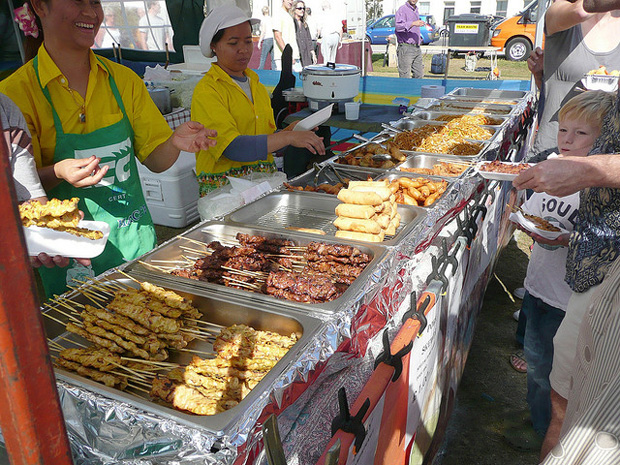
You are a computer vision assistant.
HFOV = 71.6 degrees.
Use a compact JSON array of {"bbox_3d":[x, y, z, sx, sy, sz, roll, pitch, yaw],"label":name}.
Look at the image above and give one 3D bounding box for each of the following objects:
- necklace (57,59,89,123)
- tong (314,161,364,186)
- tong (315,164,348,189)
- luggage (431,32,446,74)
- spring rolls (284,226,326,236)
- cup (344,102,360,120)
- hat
[{"bbox_3d":[-1.359,-0.841,2.550,0.180,0.340,0.140,-8,22,-18],"label":"necklace"},{"bbox_3d":[0.236,-0.465,3.521,0.365,0.104,0.225,12,30,16],"label":"tong"},{"bbox_3d":[0.181,-0.497,3.491,0.284,0.048,0.196,42,66,16],"label":"tong"},{"bbox_3d":[4.136,-5.702,13.743,0.450,1.186,0.392,-9,28,-15],"label":"luggage"},{"bbox_3d":[-0.016,-0.005,2.492,0.135,0.018,0.085,9,17,34],"label":"spring rolls"},{"bbox_3d":[0.509,-1.472,5.193,0.219,0.200,0.234,-1,17,0],"label":"cup"},{"bbox_3d":[-0.646,-1.625,3.526,0.428,0.445,0.314,13,21,25],"label":"hat"}]
